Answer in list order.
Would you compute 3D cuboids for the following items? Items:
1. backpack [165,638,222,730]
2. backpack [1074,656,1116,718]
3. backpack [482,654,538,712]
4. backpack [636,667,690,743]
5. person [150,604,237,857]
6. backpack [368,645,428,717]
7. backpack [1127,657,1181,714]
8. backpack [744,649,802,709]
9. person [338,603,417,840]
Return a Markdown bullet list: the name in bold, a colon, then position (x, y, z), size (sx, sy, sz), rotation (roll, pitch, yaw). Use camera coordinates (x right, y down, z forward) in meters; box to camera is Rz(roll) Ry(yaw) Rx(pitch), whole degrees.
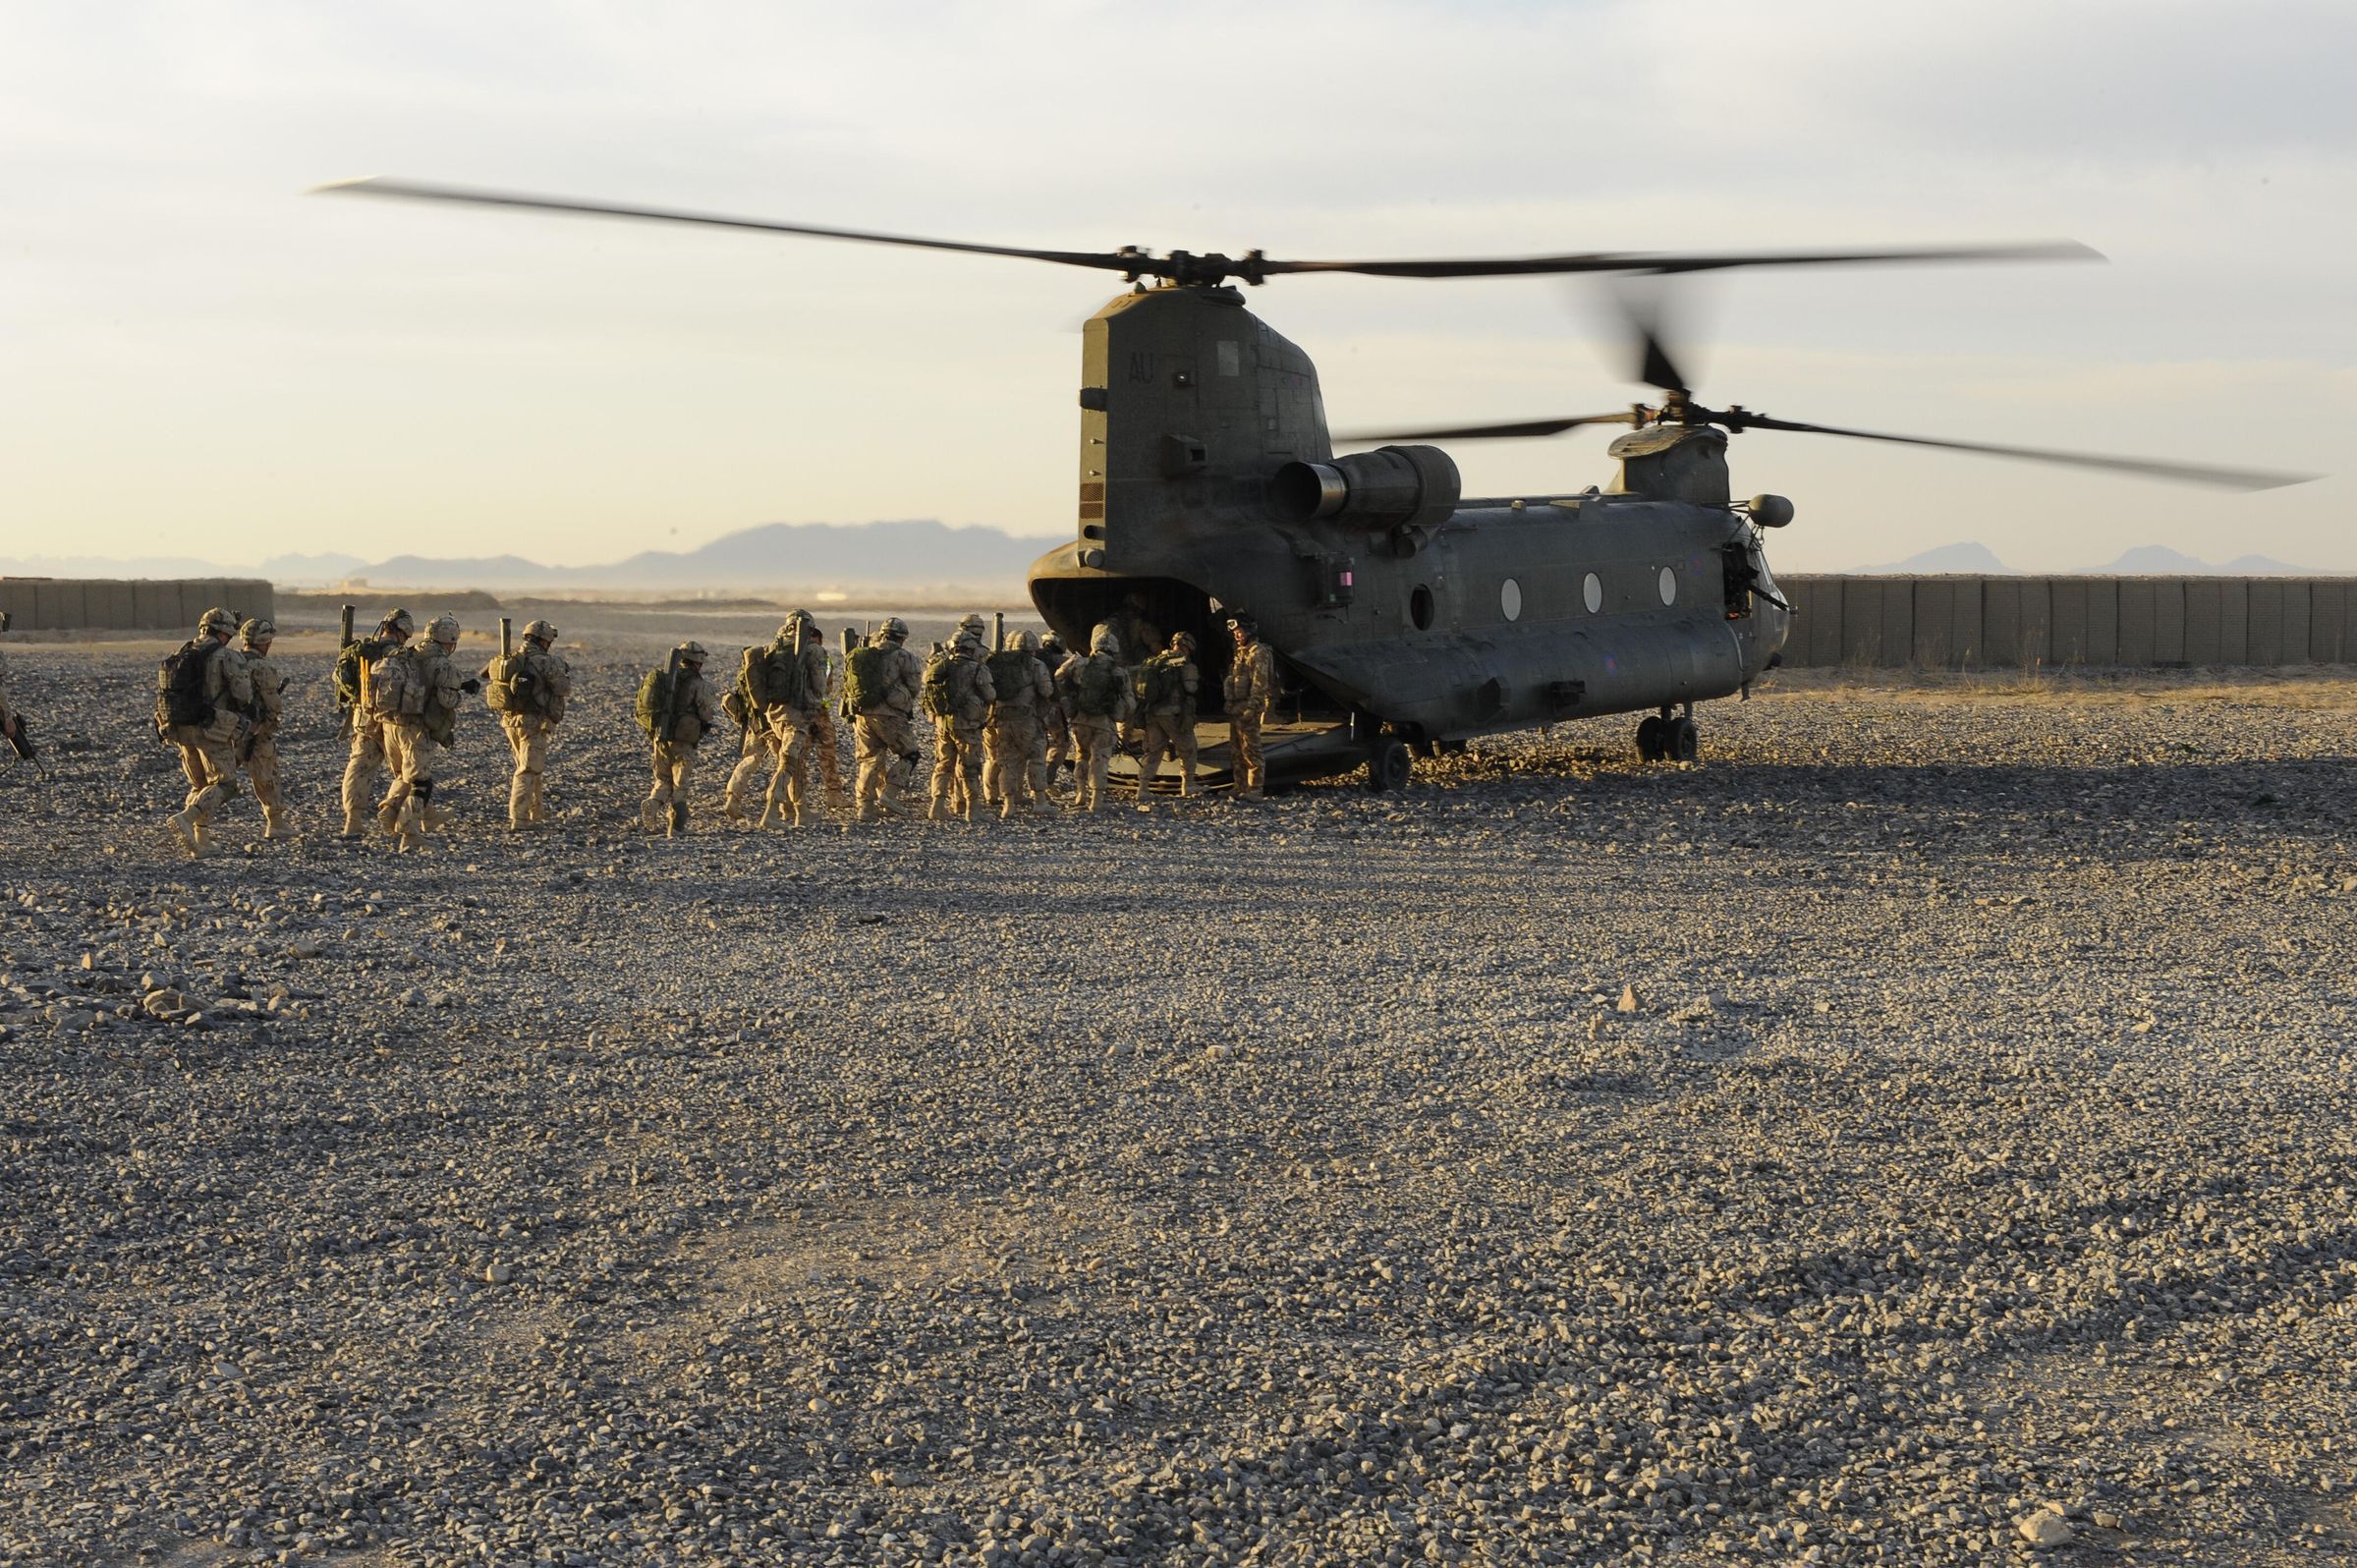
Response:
- **backpack**: position (-7.523, -0.731, 20.637), size (0.485, 0.667, 0.356), rotation (0, 8, -3)
- **backpack**: position (-0.707, -0.822, 22.926), size (0.446, 0.541, 0.316), rotation (4, 19, 20)
- **backpack**: position (-5.292, -0.785, 21.310), size (0.261, 0.465, 0.600), rotation (-7, 11, -40)
- **backpack**: position (-4.093, -0.630, 21.405), size (0.255, 0.550, 0.484), rotation (-3, 9, -21)
- **person**: position (-7.697, -0.519, 20.822), size (0.738, 2.171, 0.694), rotation (3, -4, -6)
- **backpack**: position (-5.950, -0.775, 20.505), size (0.487, 0.503, 0.235), rotation (3, 9, 23)
- **backpack**: position (-0.182, -0.841, 23.499), size (0.395, 0.487, 0.538), rotation (0, 8, 4)
- **backpack**: position (-3.255, -0.842, 21.713), size (0.530, 0.486, 0.396), rotation (-9, 17, -21)
- **person**: position (-5.854, -0.367, 20.835), size (0.852, 1.774, 0.850), rotation (5, 4, 31)
